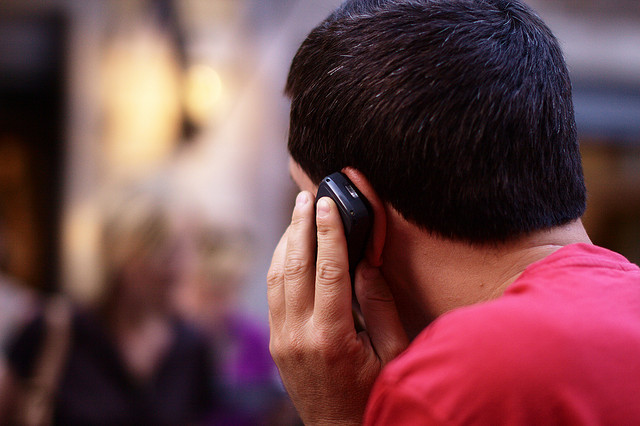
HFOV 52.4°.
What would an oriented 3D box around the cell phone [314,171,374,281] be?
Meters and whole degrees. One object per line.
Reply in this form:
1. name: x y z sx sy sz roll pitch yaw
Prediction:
1. cell phone: 0.051 0.024 1.422 0.062 0.200 0.120 -21 57 -17
